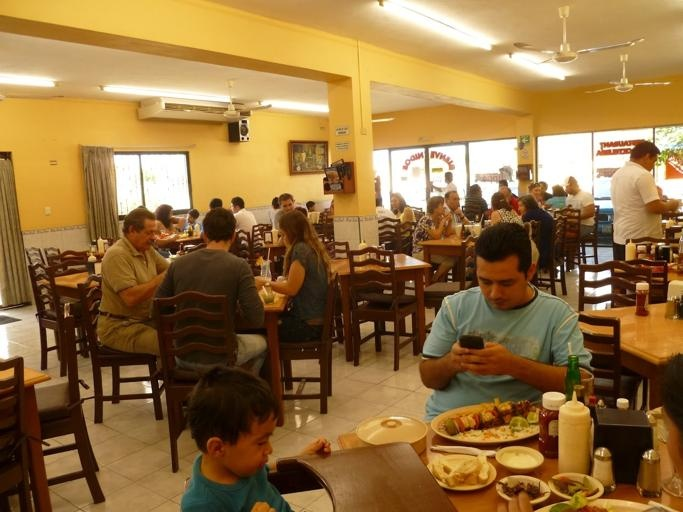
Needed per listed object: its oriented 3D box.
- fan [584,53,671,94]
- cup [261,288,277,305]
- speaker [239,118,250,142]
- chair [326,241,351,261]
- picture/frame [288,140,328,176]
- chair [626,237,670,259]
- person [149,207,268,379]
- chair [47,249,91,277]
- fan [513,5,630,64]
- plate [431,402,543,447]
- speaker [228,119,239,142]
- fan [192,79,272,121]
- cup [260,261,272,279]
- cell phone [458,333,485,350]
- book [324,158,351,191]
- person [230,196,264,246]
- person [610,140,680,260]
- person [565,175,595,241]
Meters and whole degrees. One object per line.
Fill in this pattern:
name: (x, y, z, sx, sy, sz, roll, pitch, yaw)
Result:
fan: (5.338, -3.437, 9.890, 1.288, 0.532, 1.318, 5, 13, 27)
cup: (-0.564, 0.319, 4.099, 0.106, 0.111, 0.113, -1, 1, 0)
speaker: (-2.120, -2.745, 11.577, 0.277, 0.446, 0.213, -10, 10, -39)
chair: (-0.081, -0.053, 7.087, 0.248, 0.422, 0.274, 0, -2, -8)
picture/frame: (-0.871, -2.523, 13.623, 0.114, 0.823, 1.299, 4, 11, 44)
chair: (2.653, -0.056, 4.660, 0.277, 0.148, 0.385, 0, 1, 5)
person: (-0.910, 0.405, 3.869, 0.767, 1.403, 0.703, 6, 13, 10)
chair: (-3.154, 0.098, 6.160, 0.287, 0.489, 0.311, -6, 3, -44)
fan: (3.075, -3.034, 7.181, 1.204, 0.510, 1.278, -4, 7, -27)
plate: (0.573, 0.654, 2.029, 0.257, 0.034, 0.193, -7, 6, -34)
speaker: (-2.388, -2.735, 11.669, 0.172, 0.437, 0.497, -6, 8, -23)
fan: (-2.140, -3.004, 10.688, 1.107, 0.433, 1.100, -5, 6, -27)
cup: (-0.646, 0.131, 4.736, 0.125, 0.194, 0.190, 0, -3, -1)
cell phone: (0.512, 0.352, 2.116, 0.064, 0.067, 0.016, -4, 28, 30)
book: (-0.052, -1.114, 7.364, 0.525, 0.519, 0.273, -1, -2, 45)
person: (-1.790, -0.530, 9.442, 0.550, 1.015, 0.423, 13, 20, 35)
person: (2.883, -0.514, 5.127, 0.549, 1.160, 0.353, 2, 9, 33)
person: (4.353, -0.933, 9.930, 0.391, 0.731, 0.517, -6, 5, -25)
